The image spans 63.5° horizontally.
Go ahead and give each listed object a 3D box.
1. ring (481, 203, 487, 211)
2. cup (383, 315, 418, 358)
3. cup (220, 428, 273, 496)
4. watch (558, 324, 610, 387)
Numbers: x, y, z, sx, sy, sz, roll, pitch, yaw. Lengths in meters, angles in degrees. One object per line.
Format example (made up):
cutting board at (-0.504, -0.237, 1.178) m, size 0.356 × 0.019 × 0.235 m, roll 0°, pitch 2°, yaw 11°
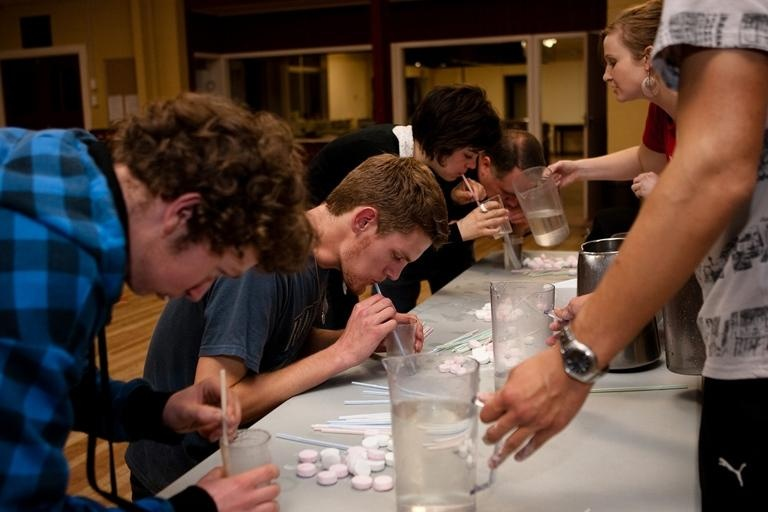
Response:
ring at (0.484, -0.236, 3.010) m, size 0.016 × 0.035 × 0.026 m, roll -20°, pitch 28°, yaw -31°
cup at (0.058, 0.248, 1.851) m, size 0.092 × 0.103 × 0.099 m, roll -3°, pitch -3°, yaw 0°
cup at (-0.284, 0.440, 1.299) m, size 0.089 × 0.100 × 0.092 m, roll -1°, pitch -4°, yaw 0°
watch at (0.371, 0.197, 1.182) m, size 0.104 × 0.110 × 0.068 m, roll -4°, pitch -4°, yaw -44°
